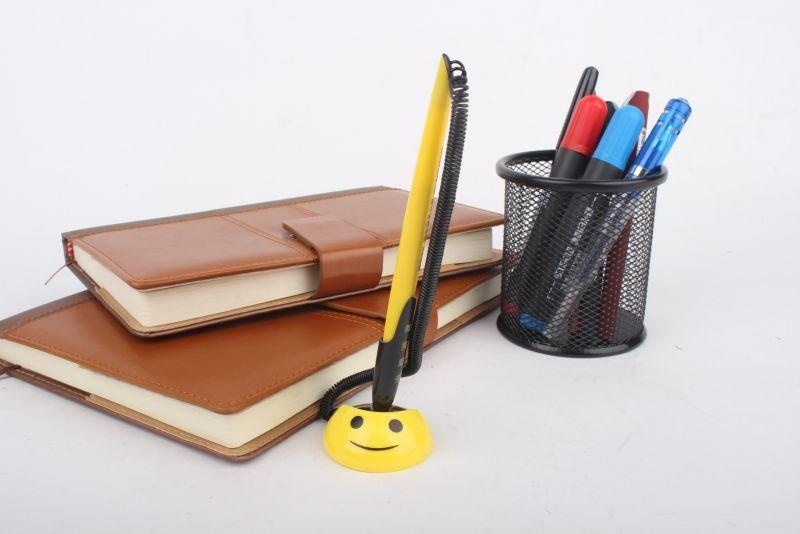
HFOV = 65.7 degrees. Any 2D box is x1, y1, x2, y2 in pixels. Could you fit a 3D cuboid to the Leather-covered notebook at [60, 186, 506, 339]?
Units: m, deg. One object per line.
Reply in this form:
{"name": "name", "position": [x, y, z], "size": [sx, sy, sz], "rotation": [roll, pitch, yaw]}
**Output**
{"name": "Leather-covered notebook", "position": [-0.124, -0.047, 0.833], "size": [0.461, 0.066, 0.262], "rotation": [-9, 20, -37]}

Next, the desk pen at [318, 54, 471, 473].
{"name": "desk pen", "position": [-0.016, -0.010, 0.641], "size": [0.163, 0.404, 0.114], "rotation": [3, 6, 11]}

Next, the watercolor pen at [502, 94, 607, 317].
{"name": "watercolor pen", "position": [0.209, -0.103, 0.853], "size": [0.139, 0.216, 0.139], "rotation": [-2, 7, 17]}

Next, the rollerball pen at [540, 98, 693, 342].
{"name": "rollerball pen", "position": [0.210, -0.053, 0.843], "size": [0.192, 0.311, 0.218], "rotation": [4, 35, -1]}
